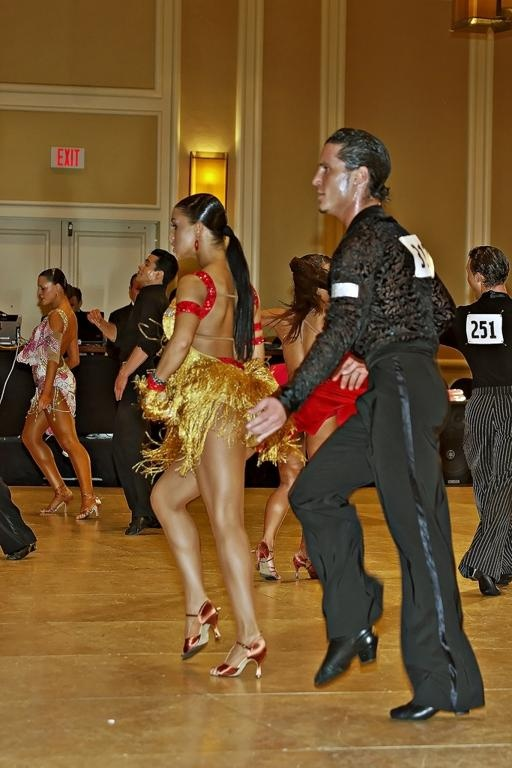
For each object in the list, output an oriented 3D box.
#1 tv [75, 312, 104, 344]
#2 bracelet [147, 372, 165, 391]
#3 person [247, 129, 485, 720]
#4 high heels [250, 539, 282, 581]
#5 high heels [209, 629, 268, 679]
[{"bbox_3d":[-1.785,-0.606,7.094,0.422,0.314,0.383,3,9,-6],"label":"tv"},{"bbox_3d":[-0.304,-0.011,2.012,0.053,0.053,0.062,3,-3,-11],"label":"bracelet"},{"bbox_3d":[0.252,0.090,1.618,0.515,1.322,0.394,-1,0,17],"label":"person"},{"bbox_3d":[0.061,0.867,3.323,0.088,0.095,0.252,0,5,0],"label":"high heels"},{"bbox_3d":[-0.044,0.771,1.953,0.219,0.153,0.085,-1,-2,17],"label":"high heels"}]
